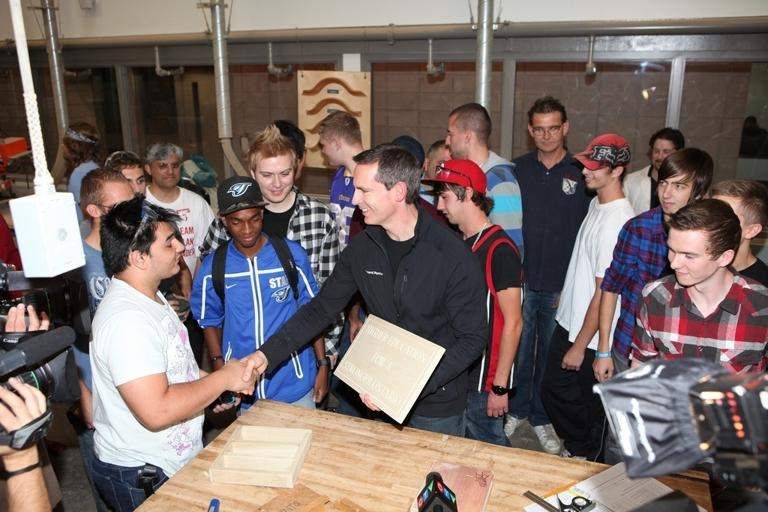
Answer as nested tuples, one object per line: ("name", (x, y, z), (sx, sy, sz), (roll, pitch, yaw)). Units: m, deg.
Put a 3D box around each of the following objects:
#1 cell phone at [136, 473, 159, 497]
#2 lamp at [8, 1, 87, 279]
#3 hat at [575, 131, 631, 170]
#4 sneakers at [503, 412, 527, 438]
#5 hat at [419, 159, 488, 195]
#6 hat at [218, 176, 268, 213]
("cell phone", (-1.215, 1.158, 2.630), (0.110, 0.135, 0.100), (6, 7, -12))
("lamp", (-1.192, -0.373, 1.749), (0.169, 0.945, 0.198), (9, 15, 35))
("hat", (1.633, -0.786, 3.861), (0.429, 0.236, 0.299), (-8, 28, -7))
("sneakers", (1.166, 1.474, 4.613), (0.164, 0.083, 0.280), (14, 27, 26))
("hat", (0.471, -0.524, 3.426), (0.417, 0.209, 0.311), (2, 6, 6))
("hat", (-0.921, -0.396, 3.265), (0.303, 0.234, 0.422), (-9, 16, -20))
